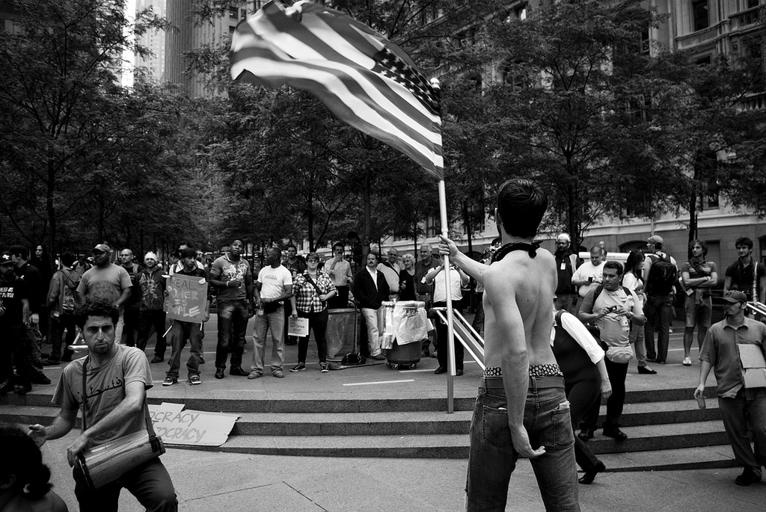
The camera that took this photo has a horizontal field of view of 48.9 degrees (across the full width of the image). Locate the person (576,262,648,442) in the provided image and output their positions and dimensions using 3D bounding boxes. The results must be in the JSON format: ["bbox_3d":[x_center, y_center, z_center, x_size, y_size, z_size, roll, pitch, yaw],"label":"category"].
[{"bbox_3d":[4.300,1.754,15.947,1.162,3.281,1.374,0,0,1],"label":"person"}]

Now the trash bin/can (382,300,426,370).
[{"bbox_3d":[0.524,1.786,19.571,0.789,1.744,0.807,-2,2,-39],"label":"trash bin/can"}]

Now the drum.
[{"bbox_3d":[-3.752,2.855,12.014,1.025,0.654,0.435,-23,-8,-18],"label":"drum"}]

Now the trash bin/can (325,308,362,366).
[{"bbox_3d":[-0.987,1.961,20.491,0.725,1.340,0.700,-1,1,10],"label":"trash bin/can"}]
